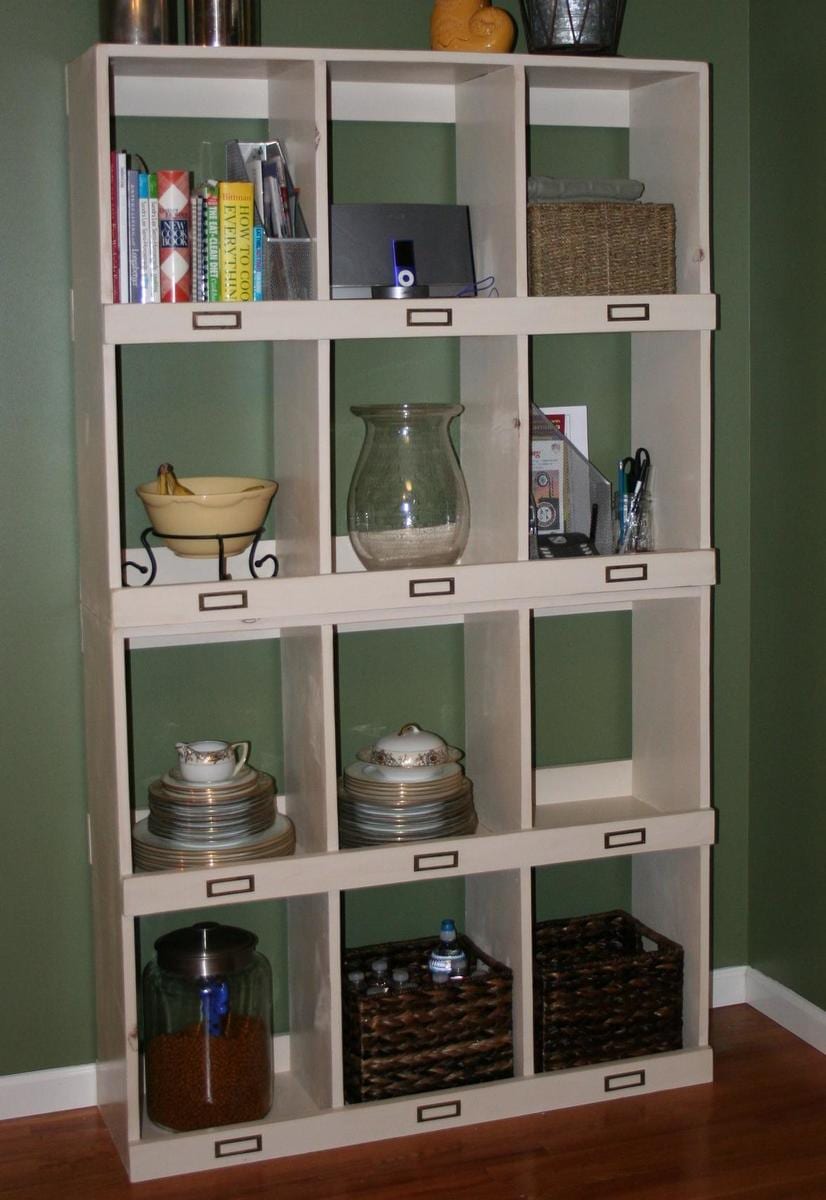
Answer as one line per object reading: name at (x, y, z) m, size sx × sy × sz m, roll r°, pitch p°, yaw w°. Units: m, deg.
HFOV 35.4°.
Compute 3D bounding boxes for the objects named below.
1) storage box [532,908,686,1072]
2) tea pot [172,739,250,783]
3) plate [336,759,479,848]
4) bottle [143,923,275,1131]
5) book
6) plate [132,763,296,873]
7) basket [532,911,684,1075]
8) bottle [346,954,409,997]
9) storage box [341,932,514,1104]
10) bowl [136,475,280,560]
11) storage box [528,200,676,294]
storage box at (0.361, 0.773, 2.607) m, size 0.240 × 0.167 × 0.244 m, roll -1°, pitch -5°, yaw -19°
tea pot at (-0.356, 0.276, 2.298) m, size 0.096 × 0.048 × 0.073 m, roll 0°, pitch 1°, yaw -28°
plate at (-0.015, 0.367, 2.380) m, size 0.250 × 0.132 × 0.206 m, roll 0°, pitch 8°, yaw 2°
bottle at (-0.379, 0.765, 2.405) m, size 0.224 × 0.357 × 0.241 m, roll 1°, pitch 8°, yaw 0°
book at (-0.370, -0.598, 2.098) m, size 0.243 × 0.225 × 0.095 m, roll -3°, pitch 8°, yaw -17°
plate at (-0.351, 0.389, 2.255) m, size 0.173 × 0.079 × 0.192 m, roll -3°, pitch 6°, yaw -4°
basket at (0.362, 0.784, 2.619) m, size 0.240 × 0.167 × 0.244 m, roll -1°, pitch -5°, yaw -19°
bottle at (-0.077, 0.727, 2.507) m, size 0.076 × 0.052 × 0.081 m, roll 0°, pitch -6°, yaw 0°
storage box at (0.008, 0.767, 2.477) m, size 0.253 × 0.169 × 0.260 m, roll -1°, pitch -2°, yaw -20°
bowl at (-0.355, -0.146, 2.283) m, size 0.222 × 0.139 × 0.295 m, roll 0°, pitch 8°, yaw 1°
storage box at (0.402, -0.694, 2.460) m, size 0.265 × 0.174 × 0.278 m, roll 8°, pitch 27°, yaw 26°
